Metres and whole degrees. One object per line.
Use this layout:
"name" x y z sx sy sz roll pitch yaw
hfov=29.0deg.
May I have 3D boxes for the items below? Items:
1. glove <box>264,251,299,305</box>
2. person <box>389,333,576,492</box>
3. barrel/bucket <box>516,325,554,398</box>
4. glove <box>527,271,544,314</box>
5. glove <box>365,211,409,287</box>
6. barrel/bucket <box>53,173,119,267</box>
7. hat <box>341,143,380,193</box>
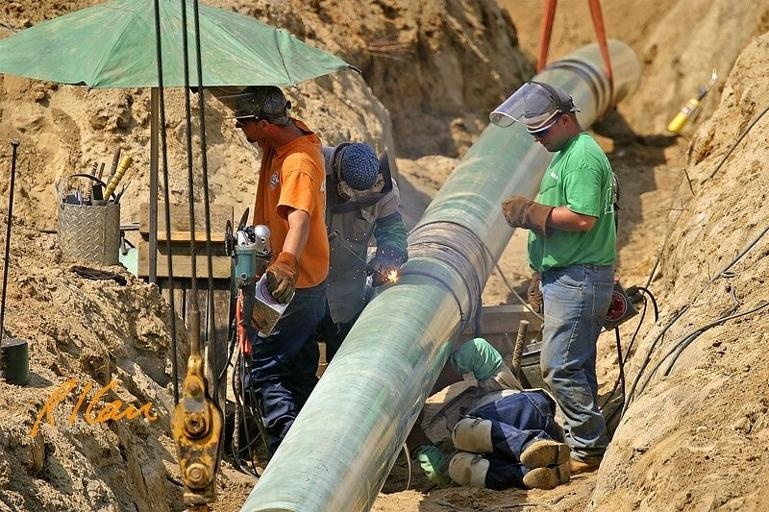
"glove" -0.863 0.171 12.411 0.252 0.420 0.140 3 6 -5
"person" 0.955 1.493 13.146 1.317 0.841 1.789 -42 27 -23
"barrel/bucket" 1.346 0.904 13.907 0.307 0.561 0.342 -5 10 -16
"glove" 1.380 0.308 13.670 0.072 0.295 0.221 2 -25 8
"glove" 0.042 -0.071 13.343 0.347 0.647 0.163 19 -8 -27
"barrel/bucket" -2.731 -0.379 13.643 0.702 1.133 0.712 3 11 -1
"hat" -0.229 -0.781 13.061 0.283 0.438 0.318 0 5 -13
